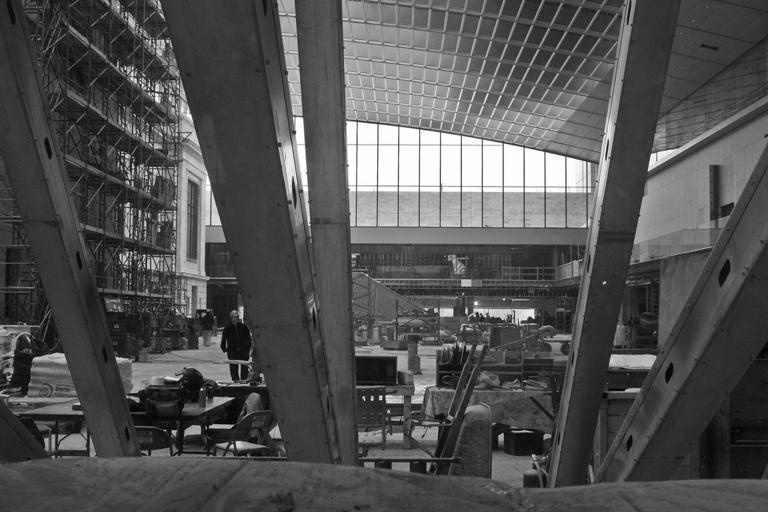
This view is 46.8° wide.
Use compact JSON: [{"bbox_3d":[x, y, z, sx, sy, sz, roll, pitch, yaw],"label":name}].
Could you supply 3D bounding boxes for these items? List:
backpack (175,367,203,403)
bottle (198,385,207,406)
[{"bbox_3d":[-3.108,2.023,14.145,0.361,0.502,0.417,7,9,-21],"label":"backpack"},{"bbox_3d":[-2.857,2.190,13.920,0.118,0.291,0.454,2,-8,-10],"label":"bottle"}]
